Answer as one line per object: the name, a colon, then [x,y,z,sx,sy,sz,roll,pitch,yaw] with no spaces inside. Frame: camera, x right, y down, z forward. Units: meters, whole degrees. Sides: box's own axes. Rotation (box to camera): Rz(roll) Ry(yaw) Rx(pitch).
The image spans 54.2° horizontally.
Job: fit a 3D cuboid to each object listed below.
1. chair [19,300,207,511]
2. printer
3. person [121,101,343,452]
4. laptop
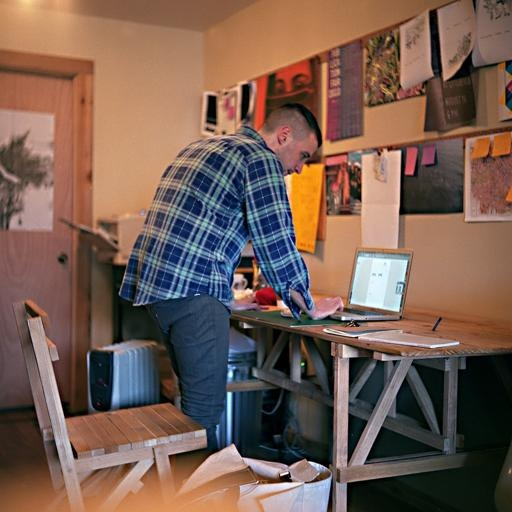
chair: [-0.403,0.356,1.707,0.614,0.849,0.552,-4,8,-20]
printer: [-0.976,-0.129,3.253,0.526,0.329,0.371,-1,4,-35]
person: [-0.251,-0.096,2.325,1.007,1.894,0.785,0,7,-20]
laptop: [0.503,0.109,2.080,0.233,0.274,0.345,1,6,-29]
